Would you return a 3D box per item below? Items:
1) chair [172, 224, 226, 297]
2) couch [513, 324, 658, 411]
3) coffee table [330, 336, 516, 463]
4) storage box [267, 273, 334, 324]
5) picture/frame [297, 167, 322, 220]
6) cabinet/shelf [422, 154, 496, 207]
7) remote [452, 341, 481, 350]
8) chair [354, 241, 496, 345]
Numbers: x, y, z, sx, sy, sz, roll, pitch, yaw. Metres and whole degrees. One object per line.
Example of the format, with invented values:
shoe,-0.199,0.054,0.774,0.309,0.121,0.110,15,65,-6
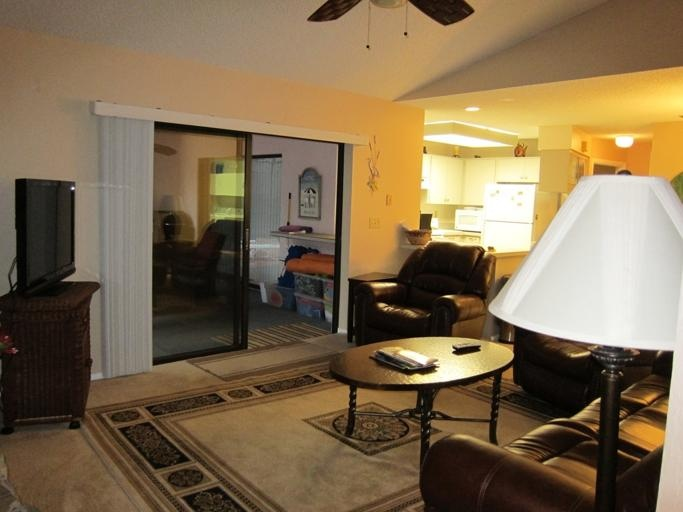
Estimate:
chair,-1.397,0.037,5.119,0.429,0.553,0.449,13,8,26
couch,1.833,0.793,4.050,0.535,0.753,0.835,3,4,-23
coffee table,0.538,0.978,3.513,1.356,0.561,0.958,-1,5,-32
storage box,-0.555,0.485,6.962,0.171,0.589,1.351,-5,11,-38
picture/frame,-0.485,-0.982,7.973,0.054,1.023,0.800,-6,10,-39
cabinet/shelf,2.086,-1.384,9.429,1.115,0.648,1.060,0,-1,-18
remote,0.890,0.640,3.681,0.150,0.028,0.076,-1,6,-28
chair,0.869,0.465,5.214,0.935,1.066,1.219,-8,12,-39
